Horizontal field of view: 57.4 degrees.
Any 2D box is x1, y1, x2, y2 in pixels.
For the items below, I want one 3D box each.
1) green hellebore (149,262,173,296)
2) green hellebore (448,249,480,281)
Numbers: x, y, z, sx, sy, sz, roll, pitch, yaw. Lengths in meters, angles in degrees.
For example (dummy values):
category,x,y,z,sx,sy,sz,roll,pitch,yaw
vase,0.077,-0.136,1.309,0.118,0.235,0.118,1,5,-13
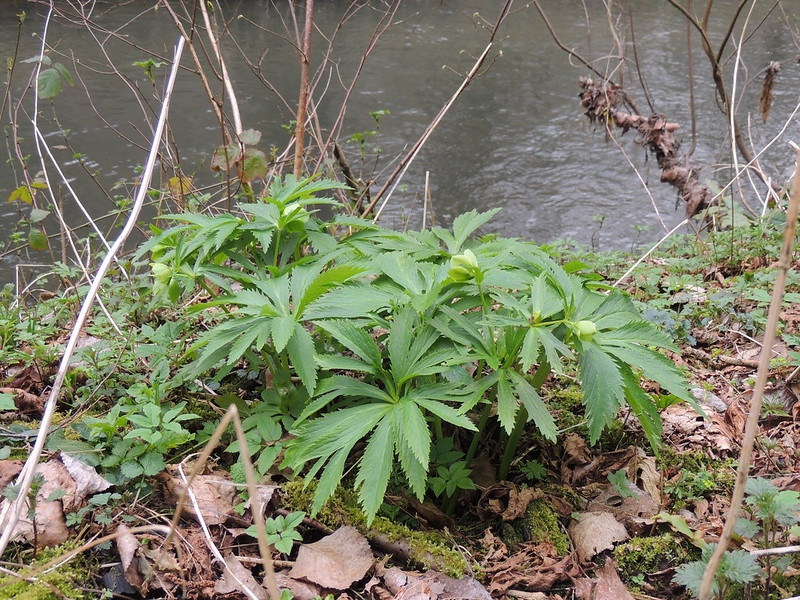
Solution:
category,x,y,z,sx,sy,sz,roll,pitch,yaw
green hellebore,-1.432,-0.115,4.386,0.134,0.222,0.138,-12,30,-18
green hellebore,0.328,-0.184,3.887,0.087,0.154,0.159,-5,39,-41
